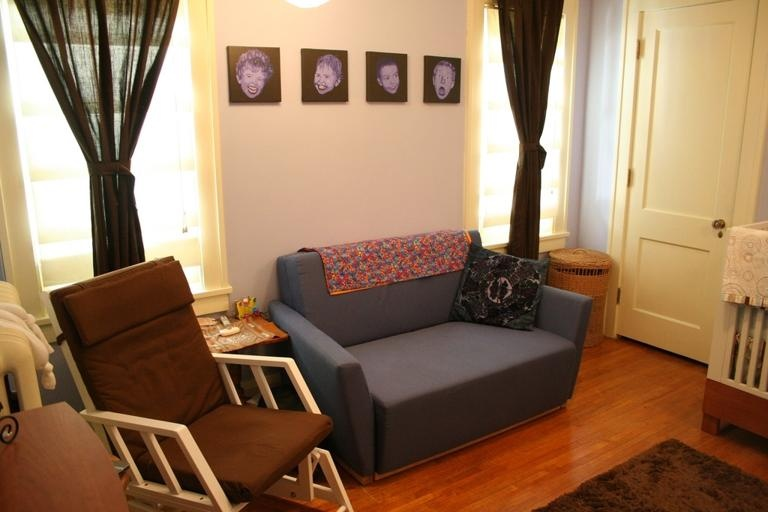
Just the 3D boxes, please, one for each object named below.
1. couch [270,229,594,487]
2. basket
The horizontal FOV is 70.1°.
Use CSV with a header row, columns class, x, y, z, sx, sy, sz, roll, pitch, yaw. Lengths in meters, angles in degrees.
class,x,y,z,sx,sy,sz,roll,pitch,yaw
couch,0.292,0.542,3.722,1.950,1.181,1.119,-10,19,-37
basket,1.666,0.310,4.639,0.608,0.712,0.613,0,10,12
